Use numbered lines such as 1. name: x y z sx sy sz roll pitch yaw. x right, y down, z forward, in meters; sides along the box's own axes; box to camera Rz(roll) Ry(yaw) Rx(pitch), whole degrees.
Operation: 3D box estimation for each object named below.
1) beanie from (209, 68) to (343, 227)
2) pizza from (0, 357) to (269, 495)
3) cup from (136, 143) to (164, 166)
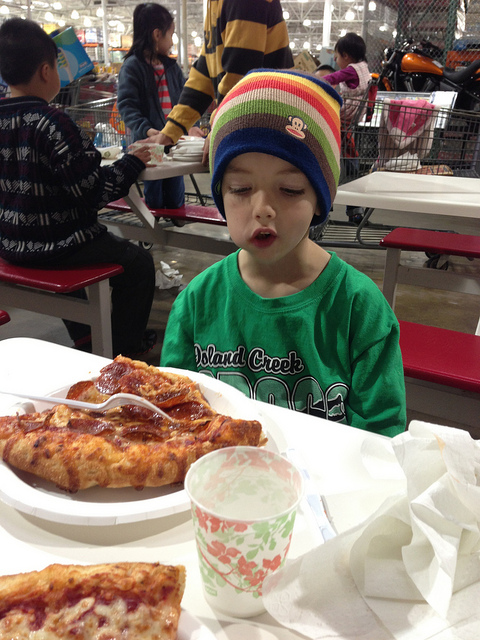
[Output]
1. beanie: 0.080 -0.336 0.905 0.221 0.294 0.300 0 -11 21
2. pizza: -0.136 0.125 0.497 0.167 0.032 0.172 22 27 20
3. cup: -0.520 -0.963 2.546 0.126 0.112 0.145 -3 17 -5
